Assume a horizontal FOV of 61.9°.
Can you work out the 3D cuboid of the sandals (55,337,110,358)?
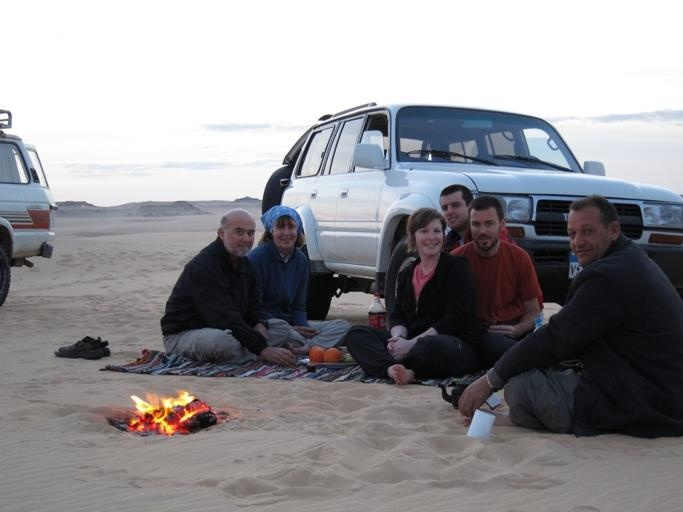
[{"bbox_3d":[-2.825,1.019,6.236,0.453,0.154,0.264,1,-4,0],"label":"sandals"}]

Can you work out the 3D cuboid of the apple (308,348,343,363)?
[{"bbox_3d":[-0.158,1.003,5.673,0.284,0.113,0.158,2,-9,-4],"label":"apple"}]

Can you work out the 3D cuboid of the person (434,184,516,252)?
[{"bbox_3d":[1.246,-0.374,5.530,0.541,0.328,0.776,-3,1,-26],"label":"person"}]

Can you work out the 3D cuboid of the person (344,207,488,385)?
[{"bbox_3d":[0.717,0.335,5.187,1.311,1.378,1.134,-5,4,-15],"label":"person"}]

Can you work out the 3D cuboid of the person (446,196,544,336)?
[{"bbox_3d":[1.367,0.156,5.340,1.063,1.297,1.015,1,7,30],"label":"person"}]
